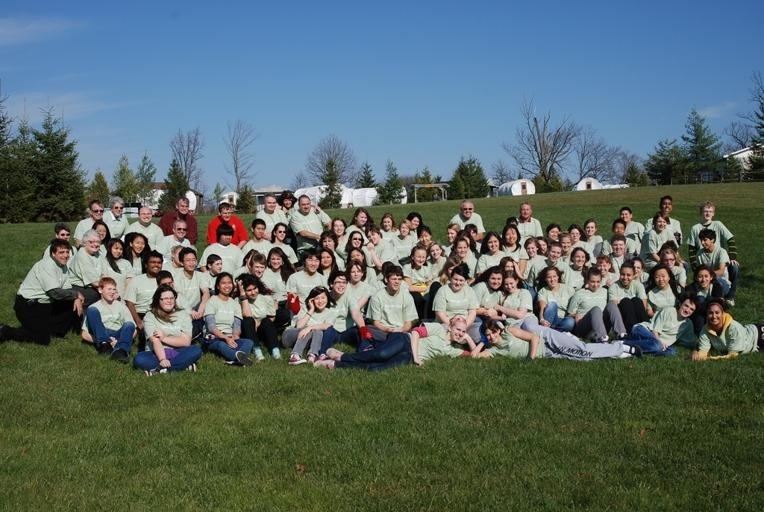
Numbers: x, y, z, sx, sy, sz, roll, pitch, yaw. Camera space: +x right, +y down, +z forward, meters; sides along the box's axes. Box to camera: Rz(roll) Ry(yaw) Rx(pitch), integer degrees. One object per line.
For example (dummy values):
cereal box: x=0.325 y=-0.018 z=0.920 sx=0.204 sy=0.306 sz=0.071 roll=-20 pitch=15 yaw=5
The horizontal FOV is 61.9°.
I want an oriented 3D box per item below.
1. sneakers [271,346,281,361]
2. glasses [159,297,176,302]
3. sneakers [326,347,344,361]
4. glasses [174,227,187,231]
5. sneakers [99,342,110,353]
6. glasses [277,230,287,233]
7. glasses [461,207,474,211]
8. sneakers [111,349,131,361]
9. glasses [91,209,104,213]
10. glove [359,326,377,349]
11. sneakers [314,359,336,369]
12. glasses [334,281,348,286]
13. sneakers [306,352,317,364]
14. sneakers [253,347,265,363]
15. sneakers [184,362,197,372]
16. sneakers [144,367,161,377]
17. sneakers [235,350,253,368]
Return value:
sneakers: x=-1.920 y=1.745 z=11.469 sx=0.181 sy=0.171 sz=0.357 roll=-3 pitch=5 yaw=-10
glasses: x=-3.761 y=0.744 z=10.859 sx=0.236 sy=0.116 sz=0.100 roll=-5 pitch=6 yaw=-36
sneakers: x=-0.786 y=1.710 z=11.102 sx=0.238 sy=0.158 sz=0.385 roll=-5 pitch=6 yaw=-32
glasses: x=-4.369 y=-0.572 z=13.459 sx=0.265 sy=0.074 sz=0.166 roll=-5 pitch=6 yaw=-35
sneakers: x=-5.170 y=1.653 z=11.470 sx=0.335 sy=0.183 sz=0.118 roll=0 pitch=5 yaw=24
glasses: x=-2.121 y=-0.535 z=13.495 sx=0.096 sy=0.055 sz=0.193 roll=2 pitch=6 yaw=36
glasses: x=2.255 y=-1.159 z=15.354 sx=0.188 sy=0.077 sz=0.176 roll=-1 pitch=5 yaw=7
sneakers: x=-4.734 y=1.745 z=11.138 sx=0.297 sy=0.212 sz=0.297 roll=-4 pitch=6 yaw=-26
glasses: x=-6.447 y=-1.021 z=13.990 sx=0.128 sy=0.103 sz=0.283 roll=0 pitch=5 yaw=20
glove: x=-0.186 y=1.469 z=11.307 sx=0.329 sy=0.353 sz=0.144 roll=-5 pitch=-14 yaw=24
sneakers: x=-0.949 y=1.861 z=10.943 sx=0.269 sy=0.113 sz=0.172 roll=-2 pitch=-1 yaw=7
glasses: x=-0.724 y=0.478 z=11.630 sx=0.219 sy=0.141 sz=0.117 roll=-3 pitch=5 yaw=-13
sneakers: x=-1.208 y=1.792 z=11.185 sx=0.216 sy=0.246 sz=0.133 roll=0 pitch=-26 yaw=1
sneakers: x=-2.222 y=1.744 z=11.403 sx=0.193 sy=0.196 sz=0.379 roll=-3 pitch=5 yaw=-13
sneakers: x=-3.324 y=1.886 z=10.798 sx=0.209 sy=0.097 sz=0.296 roll=-4 pitch=5 yaw=-19
sneakers: x=-3.934 y=1.937 z=10.586 sx=0.203 sy=0.134 sz=0.068 roll=-4 pitch=-2 yaw=-4
sneakers: x=-2.441 y=1.785 z=11.017 sx=0.350 sy=0.193 sz=0.150 roll=28 pitch=-9 yaw=-2
